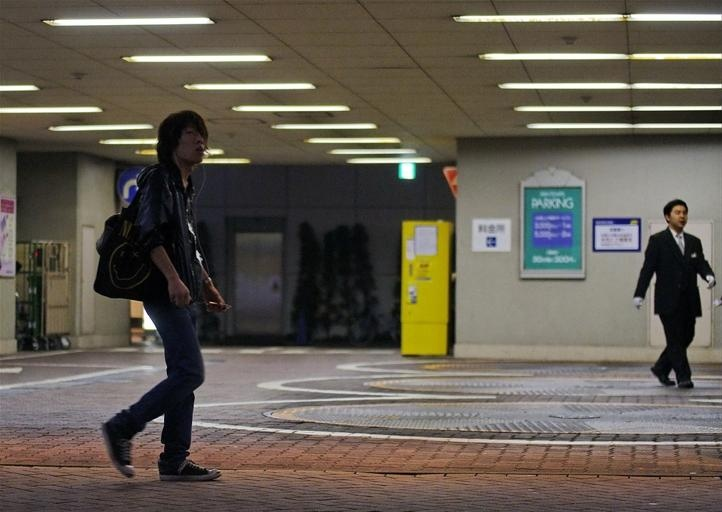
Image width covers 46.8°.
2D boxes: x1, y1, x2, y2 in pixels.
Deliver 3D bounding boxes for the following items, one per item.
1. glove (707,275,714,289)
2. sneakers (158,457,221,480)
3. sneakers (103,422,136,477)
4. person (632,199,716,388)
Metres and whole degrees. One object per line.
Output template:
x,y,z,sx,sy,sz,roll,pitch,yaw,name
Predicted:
4.829,0.352,11.534,0.097,0.189,0.751,-1,-1,24,glove
-1.281,1.589,6.241,0.416,0.164,0.172,1,-4,-5,sneakers
-1.718,1.380,6.036,0.174,0.444,0.150,-17,-2,21,sneakers
4.326,0.537,11.522,0.972,2.670,0.452,-1,0,16,person
